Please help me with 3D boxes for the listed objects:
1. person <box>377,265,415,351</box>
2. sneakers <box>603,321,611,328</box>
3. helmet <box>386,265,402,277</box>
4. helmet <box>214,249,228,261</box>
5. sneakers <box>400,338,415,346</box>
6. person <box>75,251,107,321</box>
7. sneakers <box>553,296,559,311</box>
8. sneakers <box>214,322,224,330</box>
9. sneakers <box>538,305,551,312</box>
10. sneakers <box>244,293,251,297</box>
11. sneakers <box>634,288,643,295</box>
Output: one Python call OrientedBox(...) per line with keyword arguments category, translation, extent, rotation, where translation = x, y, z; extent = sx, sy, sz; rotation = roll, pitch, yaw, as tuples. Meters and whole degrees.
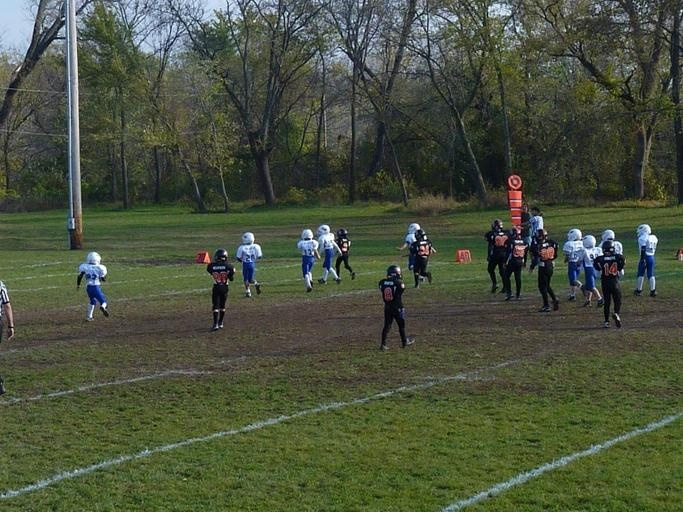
OrientedBox(category="person", translation=(1.754, 1.594, 36.577), extent=(1.014, 2.608, 1.245), rotation=(-3, 3, 6))
OrientedBox(category="sneakers", translation=(8.717, 2.222, 37.453), extent=(0.175, 0.218, 0.300), rotation=(-2, 3, 15))
OrientedBox(category="helmet", translation=(1.726, 0.484, 36.141), extent=(0.393, 0.310, 0.301), rotation=(-11, 12, -33))
OrientedBox(category="helmet", translation=(-4.021, -0.014, 38.705), extent=(0.443, 0.359, 0.339), rotation=(9, 0, -8))
OrientedBox(category="sneakers", translation=(2.190, 2.730, 36.526), extent=(0.180, 0.213, 0.513), rotation=(10, 23, 40))
OrientedBox(category="person", translation=(-8.608, 1.057, 39.935), extent=(0.998, 2.334, 1.535), rotation=(-4, 3, -13))
OrientedBox(category="sneakers", translation=(7.340, 1.703, 38.955), extent=(0.177, 0.438, 0.190), rotation=(-30, 54, -16))
OrientedBox(category="sneakers", translation=(-4.055, 2.380, 38.398), extent=(0.407, 0.271, 0.133), rotation=(0, -18, -34))
OrientedBox(category="sneakers", translation=(7.022, 1.820, 39.371), extent=(0.416, 0.196, 0.165), rotation=(1, 15, 2))
OrientedBox(category="sneakers", translation=(-3.469, 1.454, 43.110), extent=(0.099, 0.194, 0.287), rotation=(-6, 16, -36))
OrientedBox(category="sneakers", translation=(10.720, 1.292, 41.224), extent=(0.245, 0.293, 0.667), rotation=(0, -2, 2))
